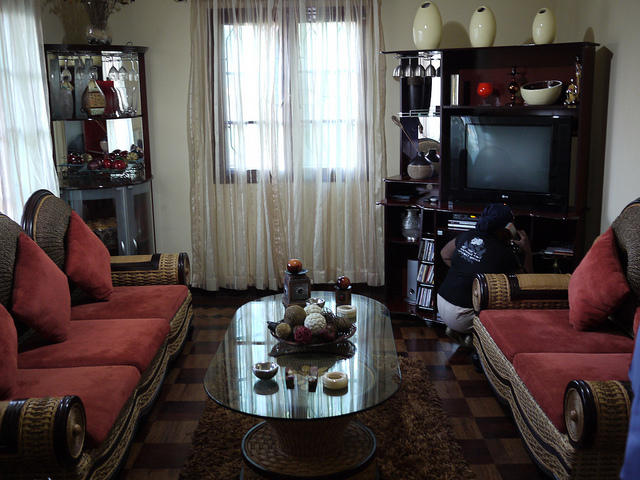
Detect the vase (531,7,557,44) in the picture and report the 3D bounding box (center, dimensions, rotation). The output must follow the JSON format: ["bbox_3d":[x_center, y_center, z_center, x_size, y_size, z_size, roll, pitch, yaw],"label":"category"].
[{"bbox_3d":[1.714,-1.646,3.766,0.164,0.270,0.167,7,15,28],"label":"vase"}]

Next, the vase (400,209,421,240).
[{"bbox_3d":[0.786,-0.134,4.294,0.253,0.267,0.159,8,16,32],"label":"vase"}]

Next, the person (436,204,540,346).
[{"bbox_3d":[1.238,0.297,3.699,0.663,1.084,0.614,8,20,10],"label":"person"}]

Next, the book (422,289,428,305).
[{"bbox_3d":[0.881,0.481,4.129,0.021,0.098,0.090,7,0,-17],"label":"book"}]

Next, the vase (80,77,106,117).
[{"bbox_3d":[-1.988,-1.268,4.321,0.217,0.339,0.164,-8,4,-24],"label":"vase"}]

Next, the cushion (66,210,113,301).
[{"bbox_3d":[-1.612,0.157,3.504,0.118,0.480,0.489,-14,13,-29],"label":"cushion"}]

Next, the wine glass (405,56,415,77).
[{"bbox_3d":[0.771,-1.496,4.231,0.080,0.168,0.160,1,14,9],"label":"wine glass"}]

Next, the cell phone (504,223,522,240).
[{"bbox_3d":[1.428,-0.061,3.642,0.061,0.178,0.034,-29,18,13],"label":"cell phone"}]

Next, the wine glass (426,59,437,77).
[{"bbox_3d":[0.985,-1.526,4.334,0.094,0.157,0.245,2,15,13],"label":"wine glass"}]

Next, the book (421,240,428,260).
[{"bbox_3d":[0.876,0.089,4.136,0.025,0.114,0.102,8,6,9],"label":"book"}]

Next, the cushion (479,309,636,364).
[{"bbox_3d":[1.368,0.551,2.778,0.402,0.124,0.480,-4,24,-2],"label":"cushion"}]

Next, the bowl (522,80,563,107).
[{"bbox_3d":[1.739,-1.171,3.817,0.241,0.123,0.257,-12,31,7],"label":"bowl"}]

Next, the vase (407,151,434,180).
[{"bbox_3d":[0.905,-0.662,4.326,0.221,0.226,0.299,11,18,39],"label":"vase"}]

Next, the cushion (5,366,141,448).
[{"bbox_3d":[-1.235,0.752,2.354,0.541,0.232,0.536,-1,15,-2],"label":"cushion"}]

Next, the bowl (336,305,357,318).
[{"bbox_3d":[0.160,0.439,3.016,0.137,0.038,0.169,-4,15,-10],"label":"bowl"}]

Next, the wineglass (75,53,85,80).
[{"bbox_3d":[-2.109,-1.518,4.279,0.073,0.214,0.033,-8,15,-30],"label":"wineglass"}]

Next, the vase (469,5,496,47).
[{"bbox_3d":[1.304,-1.702,3.918,0.203,0.311,0.164,3,14,14],"label":"vase"}]

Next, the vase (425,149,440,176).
[{"bbox_3d":[1.032,-0.699,4.459,0.171,0.239,0.185,-3,10,-13],"label":"vase"}]

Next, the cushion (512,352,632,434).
[{"bbox_3d":[1.257,0.684,2.429,0.402,0.104,0.453,1,15,17],"label":"cushion"}]

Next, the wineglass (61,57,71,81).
[{"bbox_3d":[-2.211,-1.473,4.242,0.073,0.173,0.035,-5,13,-18],"label":"wineglass"}]

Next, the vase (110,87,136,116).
[{"bbox_3d":[-1.791,-1.268,4.483,0.200,0.284,0.223,-3,11,-18],"label":"vase"}]

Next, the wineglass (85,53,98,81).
[{"bbox_3d":[-2.020,-1.534,4.318,0.076,0.217,0.059,-5,13,-18],"label":"wineglass"}]

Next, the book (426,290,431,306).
[{"bbox_3d":[0.911,0.488,4.115,0.028,0.132,0.023,3,13,17],"label":"book"}]

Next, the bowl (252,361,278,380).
[{"bbox_3d":[-0.277,0.639,2.437,0.122,0.056,0.165,-4,15,-12],"label":"bowl"}]

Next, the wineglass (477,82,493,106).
[{"bbox_3d":[1.380,-1.232,4.111,0.126,0.196,0.519,4,16,18],"label":"wineglass"}]

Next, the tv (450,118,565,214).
[{"bbox_3d":[1.537,-0.561,4.141,0.937,0.787,0.552,4,-9,14],"label":"tv"}]

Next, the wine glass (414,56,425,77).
[{"bbox_3d":[0.855,-1.452,4.194,0.052,0.100,0.127,10,18,39],"label":"wine glass"}]

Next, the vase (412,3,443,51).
[{"bbox_3d":[0.867,-1.721,4.056,0.274,0.549,0.329,1,15,12],"label":"vase"}]
